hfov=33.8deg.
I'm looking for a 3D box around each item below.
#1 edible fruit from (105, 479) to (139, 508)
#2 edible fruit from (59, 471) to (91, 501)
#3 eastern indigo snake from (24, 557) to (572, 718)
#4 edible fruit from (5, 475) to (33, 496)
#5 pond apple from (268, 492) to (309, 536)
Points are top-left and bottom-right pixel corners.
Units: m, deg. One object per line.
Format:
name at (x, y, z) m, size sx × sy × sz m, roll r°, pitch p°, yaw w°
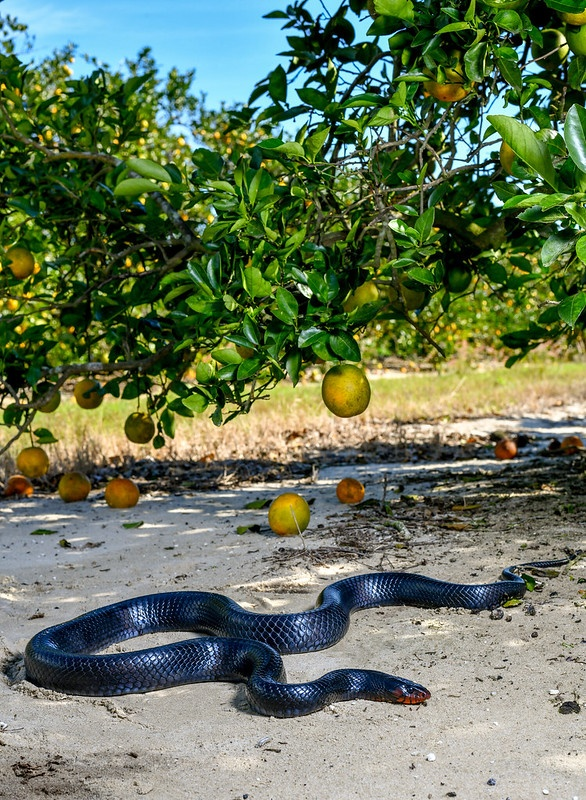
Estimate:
edible fruit at (-1.242, 0.680, 7.030) m, size 0.266 × 0.210 × 0.217 m, roll -1°, pitch -23°, yaw -18°
edible fruit at (-1.683, 0.695, 7.468) m, size 0.254 × 0.242 × 0.224 m, roll 4°, pitch -36°, yaw -8°
eastern indigo snake at (-0.127, 1.067, 4.408) m, size 1.779 × 0.215 × 1.341 m, roll 0°, pitch 10°, yaw 21°
edible fruit at (-2.222, 0.700, 7.814) m, size 0.203 × 0.156 × 0.196 m, roll -10°, pitch 13°, yaw -27°
pond apple at (0.009, 0.690, 5.969) m, size 0.309 × 0.291 × 0.256 m, roll 4°, pitch 28°, yaw 7°
